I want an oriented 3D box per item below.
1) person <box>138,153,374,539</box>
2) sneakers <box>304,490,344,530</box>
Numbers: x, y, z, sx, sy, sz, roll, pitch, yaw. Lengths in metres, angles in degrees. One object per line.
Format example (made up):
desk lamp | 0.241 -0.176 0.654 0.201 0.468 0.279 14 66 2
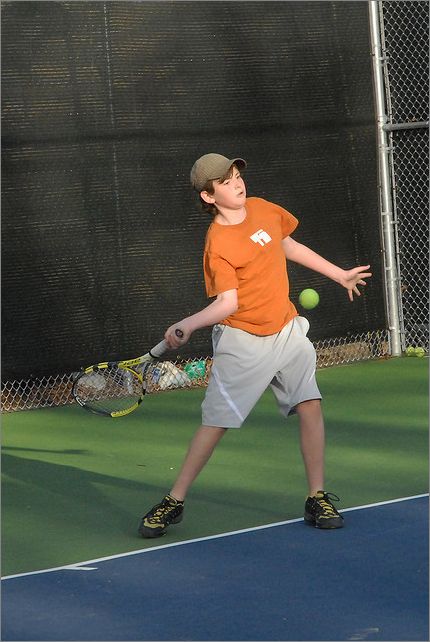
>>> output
person | 0.123 0.077 2.241 0.858 1.489 0.479 -1 2 -11
sneakers | 0.402 0.721 2.223 0.083 0.082 0.190 0 -7 -19
